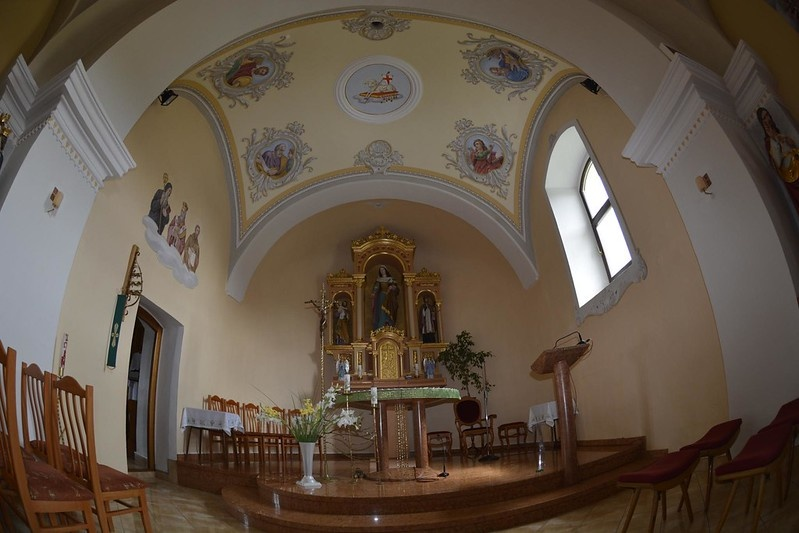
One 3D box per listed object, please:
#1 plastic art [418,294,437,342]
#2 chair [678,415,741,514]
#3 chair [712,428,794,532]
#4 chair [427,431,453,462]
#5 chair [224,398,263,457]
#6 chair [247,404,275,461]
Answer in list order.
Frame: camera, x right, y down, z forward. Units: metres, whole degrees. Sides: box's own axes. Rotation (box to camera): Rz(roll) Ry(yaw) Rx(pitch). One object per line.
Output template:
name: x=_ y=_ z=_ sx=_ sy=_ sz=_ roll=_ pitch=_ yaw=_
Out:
plastic art: x=0.698 y=1.272 z=12.106 sx=0.363 sy=1.138 sz=0.276 roll=-2 pitch=-17 yaw=-3
chair: x=3.304 y=2.075 z=5.424 sx=0.524 sy=0.793 sz=0.495 roll=8 pitch=-21 yaw=6
chair: x=3.298 y=1.935 z=4.681 sx=0.758 sy=0.861 sz=1.185 roll=-15 pitch=-22 yaw=30
chair: x=0.814 y=3.697 z=10.503 sx=0.565 sy=0.604 sz=0.615 roll=1 pitch=-28 yaw=-8
chair: x=-2.827 y=3.137 z=9.598 sx=0.691 sy=1.062 sz=0.684 roll=-10 pitch=-21 yaw=35
chair: x=-2.651 y=3.197 z=9.806 sx=0.617 sy=1.017 sz=0.580 roll=-7 pitch=-15 yaw=33
